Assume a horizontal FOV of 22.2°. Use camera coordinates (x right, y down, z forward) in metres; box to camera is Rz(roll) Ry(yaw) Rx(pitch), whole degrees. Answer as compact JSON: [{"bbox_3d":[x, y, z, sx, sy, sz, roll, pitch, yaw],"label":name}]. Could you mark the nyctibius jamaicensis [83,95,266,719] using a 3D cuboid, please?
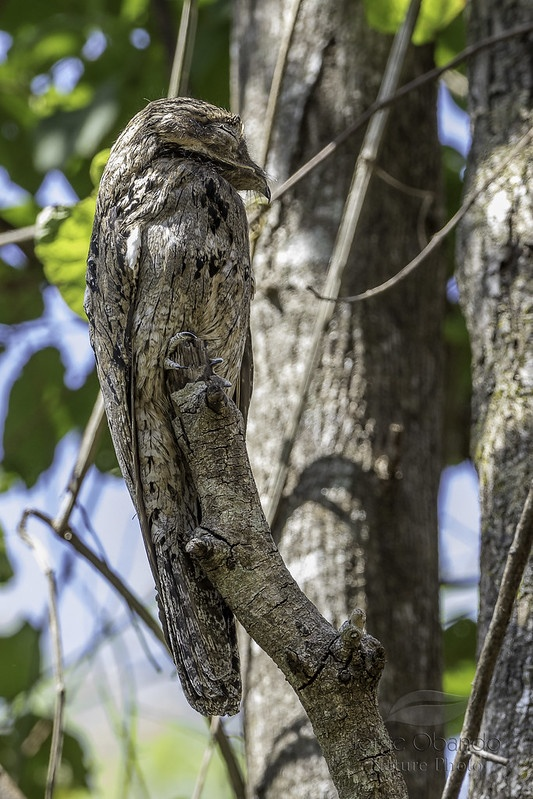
[{"bbox_3d":[-0.278,-0.075,4.088,0.591,1.995,0.856,4,-48,-6],"label":"nyctibius jamaicensis"}]
